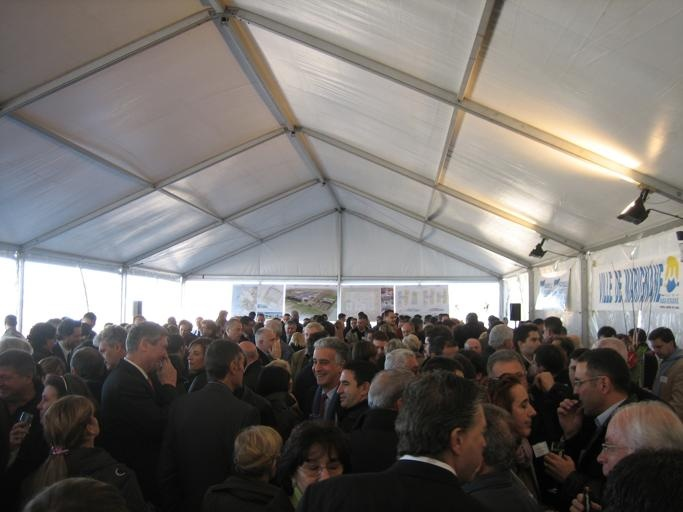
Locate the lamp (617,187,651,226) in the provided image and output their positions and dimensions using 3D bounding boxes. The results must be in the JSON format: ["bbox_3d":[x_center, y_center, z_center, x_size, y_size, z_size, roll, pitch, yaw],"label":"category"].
[{"bbox_3d":[3.353,-0.566,5.884,0.311,0.329,0.470,-1,-9,16],"label":"lamp"}]

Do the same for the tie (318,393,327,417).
[{"bbox_3d":[-0.167,1.335,4.638,0.040,0.161,0.118,7,-22,3],"label":"tie"}]

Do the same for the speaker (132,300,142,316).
[{"bbox_3d":[-4.952,1.249,12.486,0.317,0.333,0.590,-1,2,-16],"label":"speaker"}]

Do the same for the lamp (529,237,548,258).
[{"bbox_3d":[3.652,-0.177,9.592,0.254,0.463,0.167,44,-27,-13],"label":"lamp"}]

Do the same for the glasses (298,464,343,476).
[{"bbox_3d":[-0.115,1.203,2.919,0.237,0.061,0.041,2,-8,-7],"label":"glasses"}]
